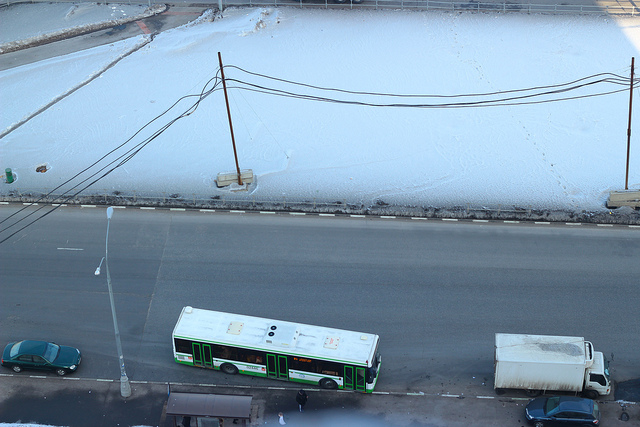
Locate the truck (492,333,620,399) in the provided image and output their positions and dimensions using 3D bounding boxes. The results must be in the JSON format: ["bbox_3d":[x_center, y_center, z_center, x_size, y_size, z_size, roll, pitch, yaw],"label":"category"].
[{"bbox_3d":[16.907,10.558,59.828,9.017,4.383,3.052,2,-30,5],"label":"truck"}]
